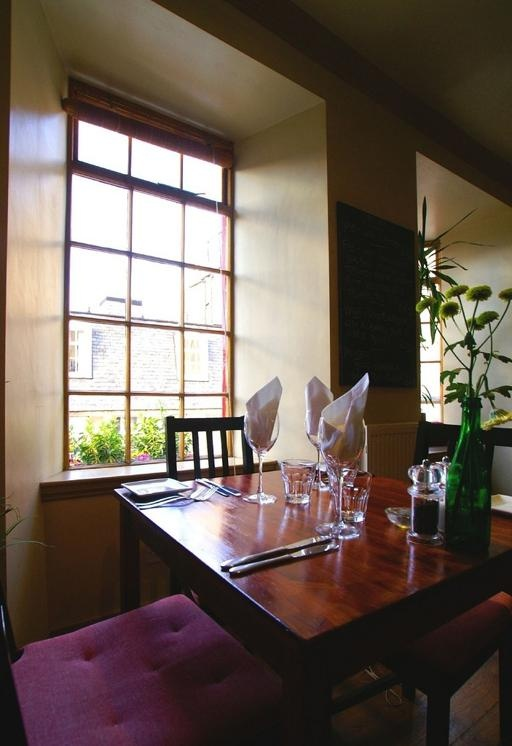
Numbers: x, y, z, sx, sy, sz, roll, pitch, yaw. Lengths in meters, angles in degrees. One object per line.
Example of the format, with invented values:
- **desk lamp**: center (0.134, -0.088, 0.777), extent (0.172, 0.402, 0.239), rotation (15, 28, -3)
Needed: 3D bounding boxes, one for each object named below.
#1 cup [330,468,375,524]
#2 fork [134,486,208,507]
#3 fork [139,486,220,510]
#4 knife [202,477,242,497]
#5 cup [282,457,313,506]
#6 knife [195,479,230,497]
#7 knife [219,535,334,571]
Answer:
- **cup**: center (0.221, 0.286, 1.319), extent (0.120, 0.146, 0.124), rotation (0, -15, 0)
- **fork**: center (-0.201, 0.329, 1.448), extent (0.055, 0.033, 0.211), rotation (13, -3, 38)
- **fork**: center (-0.186, 0.315, 1.456), extent (0.056, 0.035, 0.218), rotation (6, -5, 36)
- **knife**: center (-0.104, 0.317, 1.604), extent (0.039, 0.012, 0.153), rotation (3, -1, -26)
- **cup**: center (0.104, 0.275, 1.417), extent (0.089, 0.101, 0.096), rotation (0, -8, 0)
- **knife**: center (-0.127, 0.319, 1.618), extent (0.035, 0.021, 0.174), rotation (0, 0, -20)
- **knife**: center (0.050, 0.316, 1.055), extent (0.266, 0.017, 0.066), rotation (-4, 3, -33)
